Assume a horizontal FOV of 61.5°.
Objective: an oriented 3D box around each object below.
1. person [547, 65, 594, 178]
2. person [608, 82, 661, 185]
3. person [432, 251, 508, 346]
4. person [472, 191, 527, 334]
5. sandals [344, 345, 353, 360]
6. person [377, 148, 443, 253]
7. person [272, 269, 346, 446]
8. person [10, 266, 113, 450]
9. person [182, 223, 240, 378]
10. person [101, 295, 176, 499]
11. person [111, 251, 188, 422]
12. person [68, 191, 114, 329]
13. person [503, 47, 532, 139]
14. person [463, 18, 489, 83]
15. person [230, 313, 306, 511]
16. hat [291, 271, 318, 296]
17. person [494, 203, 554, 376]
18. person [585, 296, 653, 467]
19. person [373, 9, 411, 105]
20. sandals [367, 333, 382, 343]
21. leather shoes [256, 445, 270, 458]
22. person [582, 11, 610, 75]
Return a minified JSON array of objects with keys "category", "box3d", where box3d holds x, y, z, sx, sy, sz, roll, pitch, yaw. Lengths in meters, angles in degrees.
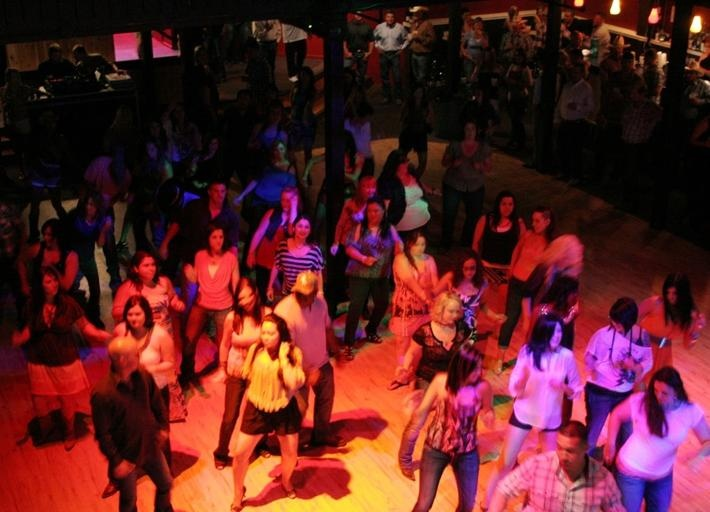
[{"category":"person","box3d":[4.369,-2.648,12.044,0.631,2.288,0.719,6,16,19]},{"category":"person","box3d":[5.251,-2.232,11.130,0.633,1.927,1.056,7,17,24]},{"category":"person","box3d":[1.338,0.744,7.166,0.743,1.532,0.451,6,27,16]},{"category":"person","box3d":[1.865,0.079,7.741,0.577,1.888,0.538,4,33,13]},{"category":"sandals","box3d":[-0.088,1.211,7.514,0.069,0.090,0.230,-2,59,-2]},{"category":"person","box3d":[0.845,-0.579,8.736,0.861,1.895,0.629,-18,26,-11]},{"category":"person","box3d":[-0.372,1.028,5.707,0.559,1.791,0.526,-13,25,-23]},{"category":"person","box3d":[-2.990,1.091,6.111,0.873,1.931,0.666,1,16,-17]},{"category":"person","box3d":[-1.661,0.608,6.808,0.678,1.978,0.580,3,21,-16]},{"category":"person","box3d":[-2.019,1.341,5.720,0.640,2.022,0.605,3,20,-9]},{"category":"person","box3d":[-2.104,0.881,6.287,0.702,1.831,0.571,-9,9,-42]},{"category":"person","box3d":[-3.468,0.079,7.631,0.604,1.907,0.566,-2,-7,31]},{"category":"person","box3d":[3.810,-3.696,14.092,0.577,2.254,0.423,4,15,15]},{"category":"person","box3d":[3.226,-5.635,16.355,0.659,1.691,0.855,3,15,10]},{"category":"person","box3d":[-0.792,1.427,5.260,0.632,1.919,0.348,-4,15,-15]},{"category":"hat","box3d":[-0.469,0.247,5.491,0.180,0.240,0.227,27,38,20]},{"category":"person","box3d":[1.947,0.396,7.031,0.567,2.000,0.442,3,9,-39]},{"category":"person","box3d":[2.411,1.308,5.623,0.615,1.936,0.529,0,20,10]},{"category":"person","box3d":[0.886,-5.318,16.034,0.905,2.295,0.970,-1,15,-4]},{"category":"sandals","box3d":[0.235,1.073,7.888,0.214,0.091,0.099,3,-12,0]},{"category":"leather shoes","box3d":[-0.952,1.985,6.087,0.170,0.070,0.076,37,68,3]},{"category":"person","box3d":[6.889,-5.970,17.177,0.559,1.963,0.639,0,40,13]}]
